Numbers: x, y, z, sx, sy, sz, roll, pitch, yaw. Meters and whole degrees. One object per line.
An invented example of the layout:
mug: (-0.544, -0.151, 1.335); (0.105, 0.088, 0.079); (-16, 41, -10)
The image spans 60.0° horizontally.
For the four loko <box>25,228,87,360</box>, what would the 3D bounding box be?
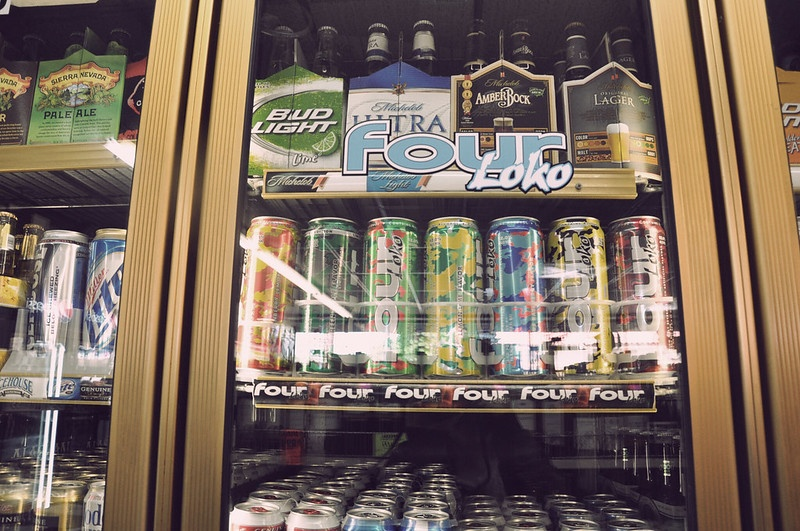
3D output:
four loko: (-0.965, 0.085, 1.961); (0.123, 0.387, 0.115); (8, 10, -7)

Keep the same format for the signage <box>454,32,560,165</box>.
signage: (0.291, -0.472, 1.954); (0.284, 0.350, 0.015); (0, -17, 1)

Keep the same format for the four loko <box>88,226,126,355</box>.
four loko: (-0.822, 0.075, 1.932); (0.099, 0.336, 0.085); (0, -7, 7)

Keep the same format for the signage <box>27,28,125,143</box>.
signage: (-0.925, -0.489, 2.039); (0.264, 0.339, 0.125); (-2, -16, 0)

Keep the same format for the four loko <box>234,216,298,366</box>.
four loko: (-0.354, 0.071, 1.856); (0.138, 0.409, 0.062); (1, -13, -12)
